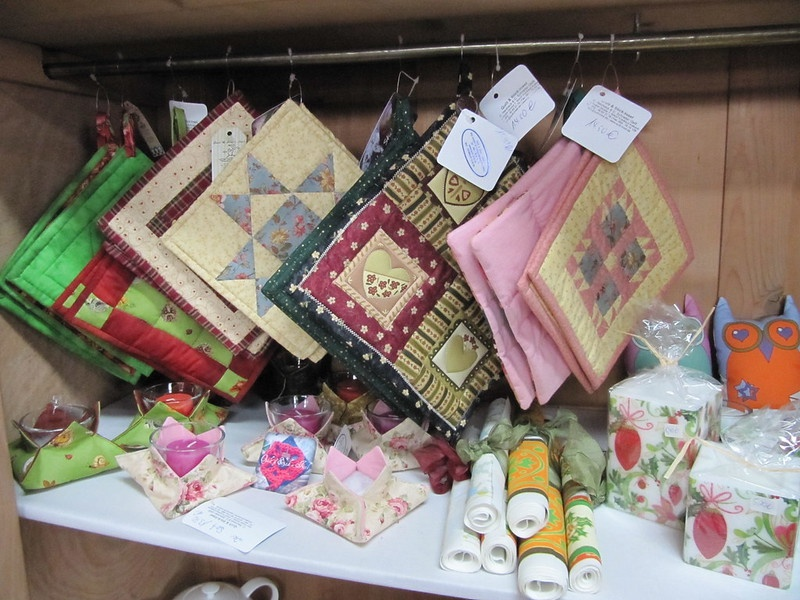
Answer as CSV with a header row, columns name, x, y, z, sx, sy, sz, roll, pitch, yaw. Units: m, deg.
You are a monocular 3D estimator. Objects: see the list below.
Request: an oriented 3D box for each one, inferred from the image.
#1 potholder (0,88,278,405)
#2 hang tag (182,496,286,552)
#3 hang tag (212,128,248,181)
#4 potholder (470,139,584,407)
name,x,y,z,sx,sy,sz,roll,pitch,yaw
potholder,-0.619,0.038,1.749,0.574,0.561,0.167,-57,18,-11
hang tag,-0.307,0.412,1.301,0.177,0.036,0.090,4,22,32
hang tag,-0.361,-0.313,1.500,0.071,0.126,0.012,-6,48,-21
potholder,0.262,-0.043,1.356,0.087,0.468,0.284,8,23,40
